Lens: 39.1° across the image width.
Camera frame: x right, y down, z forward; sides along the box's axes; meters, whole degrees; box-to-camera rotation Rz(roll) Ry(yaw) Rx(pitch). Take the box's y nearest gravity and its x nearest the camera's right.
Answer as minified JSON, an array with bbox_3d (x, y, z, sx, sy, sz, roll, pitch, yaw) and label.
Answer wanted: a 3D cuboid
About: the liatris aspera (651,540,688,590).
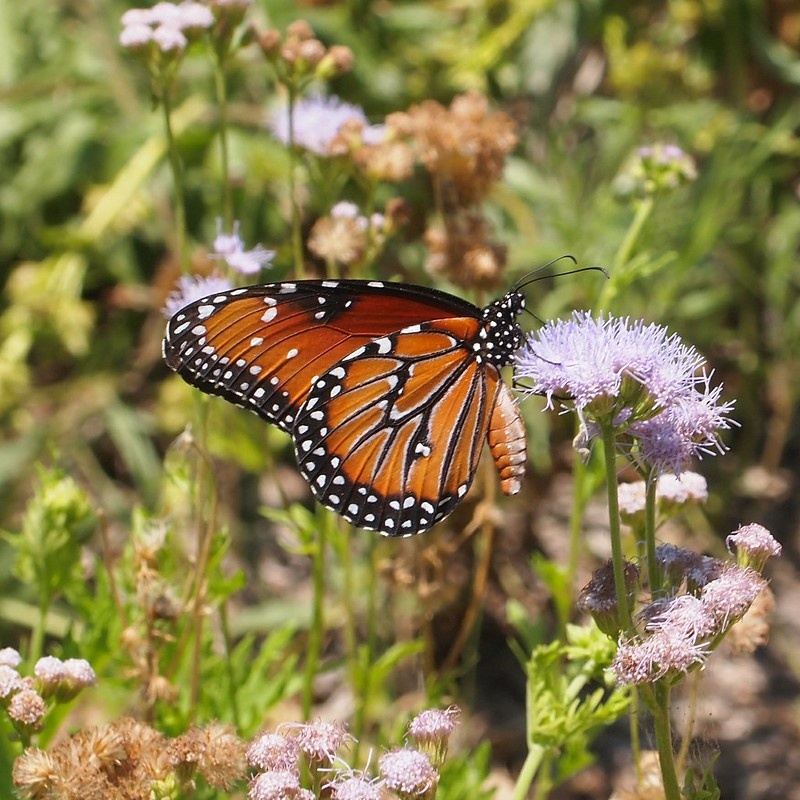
[{"bbox_3d":[0.615,0.378,2.557,0.086,0.088,0.110,6,69,-15],"label":"liatris aspera"}]

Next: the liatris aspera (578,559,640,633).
[{"bbox_3d":[0.478,0.439,2.532,0.119,0.093,0.171,31,80,8],"label":"liatris aspera"}]

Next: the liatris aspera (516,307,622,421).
[{"bbox_3d":[0.392,-0.079,2.539,0.216,0.198,0.230,-31,78,-5],"label":"liatris aspera"}]

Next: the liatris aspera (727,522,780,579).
[{"bbox_3d":[0.787,0.331,2.561,0.133,0.136,0.128,1,94,17],"label":"liatris aspera"}]
